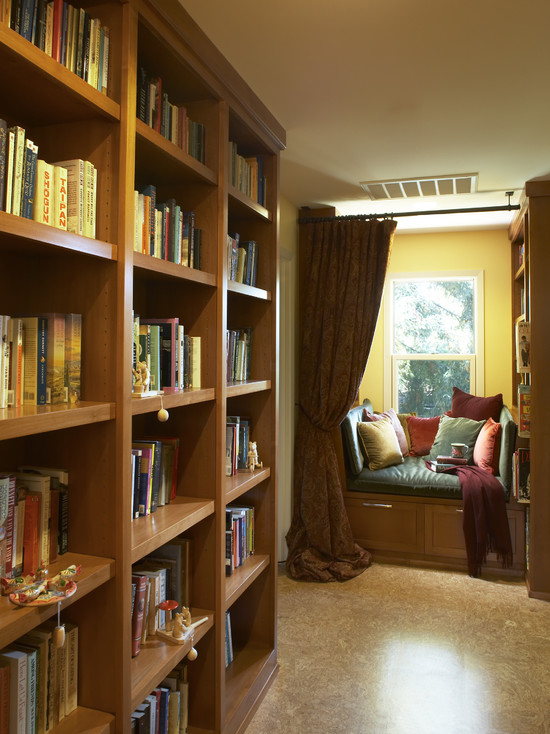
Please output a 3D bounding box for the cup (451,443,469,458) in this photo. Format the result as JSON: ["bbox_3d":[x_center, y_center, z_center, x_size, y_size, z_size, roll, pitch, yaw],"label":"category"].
[{"bbox_3d":[1.342,0.623,4.040,0.109,0.088,0.075,1,-6,-32],"label":"cup"}]

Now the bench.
[{"bbox_3d":[1.070,0.601,3.947,1.119,0.576,0.501,-1,-1,20],"label":"bench"}]
